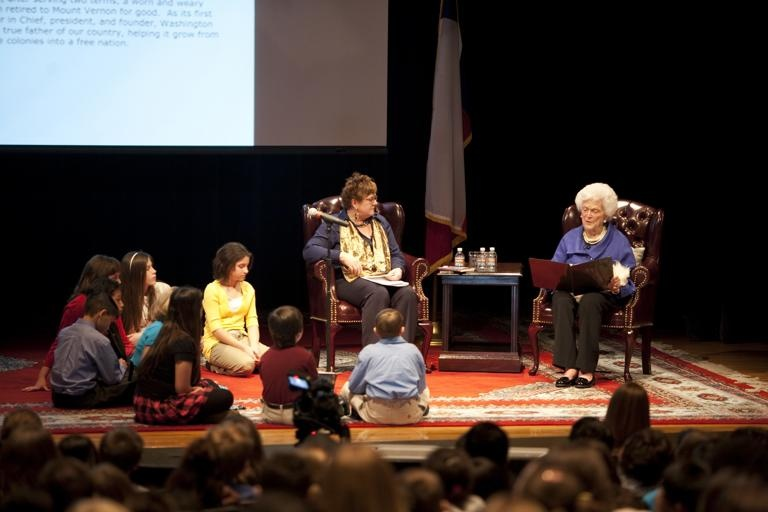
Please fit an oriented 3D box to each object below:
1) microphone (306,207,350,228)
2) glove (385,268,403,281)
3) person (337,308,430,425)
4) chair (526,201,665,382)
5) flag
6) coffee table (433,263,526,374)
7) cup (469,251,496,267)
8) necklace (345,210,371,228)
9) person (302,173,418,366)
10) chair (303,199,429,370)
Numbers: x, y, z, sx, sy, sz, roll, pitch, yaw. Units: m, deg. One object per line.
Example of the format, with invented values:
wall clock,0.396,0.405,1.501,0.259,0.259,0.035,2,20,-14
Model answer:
microphone,-0.435,-0.285,5.012,0.390,0.118,0.094,18,-5,7
glove,0.077,0.142,5.024,0.093,0.099,0.144,-7,15,19
person,0.042,0.566,3.908,0.594,0.736,0.572,0,16,-5
chair,1.622,0.244,5.044,0.938,1.272,1.021,1,1,19
flag,0.583,-1.025,5.637,0.405,2.291,0.335,2,5,-22
coffee table,0.758,0.429,5.310,0.696,0.847,0.899,0,-1,7
cup,0.770,0.030,5.177,0.123,0.119,0.164,2,-3,-40
necklace,-0.216,-0.277,5.198,0.163,0.072,0.132,7,-4,-31
person,-0.131,0.128,5.050,0.703,1.484,0.796,-4,4,-36
chair,-0.148,0.182,5.201,0.988,1.340,1.003,1,1,-7
